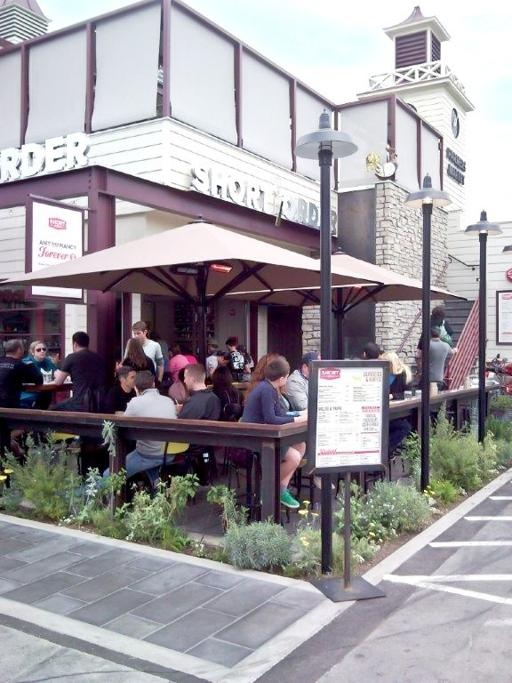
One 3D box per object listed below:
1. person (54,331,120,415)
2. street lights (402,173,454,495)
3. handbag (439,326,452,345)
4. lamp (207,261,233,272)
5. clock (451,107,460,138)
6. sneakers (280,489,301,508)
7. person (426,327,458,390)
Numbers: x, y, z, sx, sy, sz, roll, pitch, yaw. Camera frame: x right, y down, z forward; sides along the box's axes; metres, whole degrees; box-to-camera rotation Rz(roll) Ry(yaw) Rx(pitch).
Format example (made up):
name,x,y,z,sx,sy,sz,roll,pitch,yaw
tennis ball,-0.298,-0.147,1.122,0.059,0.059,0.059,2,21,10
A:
name,x,y,z,sx,sy,sz,roll,pitch,yaw
person,-1.741,0.443,7.272,0.434,1.037,0.706,2,-7,-40
street lights,1.466,-0.024,6.383,0.463,3.043,0.478,-6,-18,33
handbag,2.842,-0.098,11.080,0.095,0.269,0.235,-10,7,27
lamp,-0.362,-0.755,7.410,0.221,0.128,0.054,3,18,-39
clock,6.103,-6.731,22.567,0.058,1.203,1.131,-3,2,19
sneakers,0.260,1.276,5.950,0.099,0.109,0.244,0,1,-44
person,2.414,0.260,9.825,0.576,0.919,0.287,1,31,7
